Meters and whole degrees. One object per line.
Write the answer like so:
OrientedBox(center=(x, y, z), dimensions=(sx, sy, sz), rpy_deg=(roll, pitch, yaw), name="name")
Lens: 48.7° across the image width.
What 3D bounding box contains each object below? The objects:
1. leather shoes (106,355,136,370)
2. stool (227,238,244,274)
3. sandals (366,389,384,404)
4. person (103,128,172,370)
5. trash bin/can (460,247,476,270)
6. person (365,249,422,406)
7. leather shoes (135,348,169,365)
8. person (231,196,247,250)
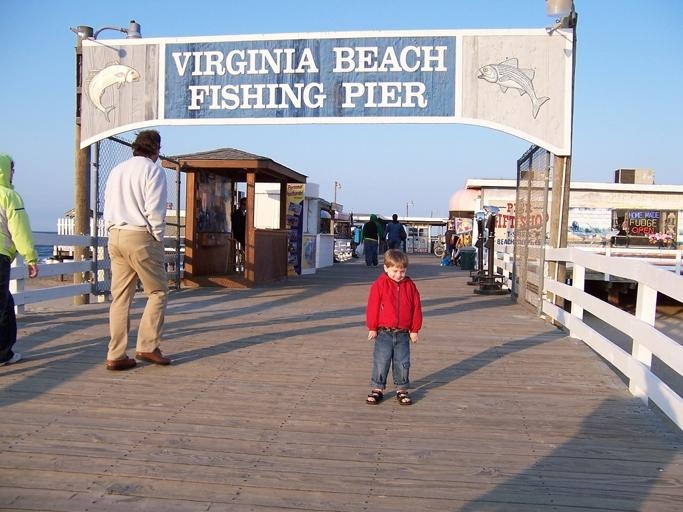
OrientedBox(center=(-2.103, 1.017, 7.324), dimensions=(0.113, 0.133, 0.286), rpy_deg=(4, 6, 41), name="leather shoes")
OrientedBox(center=(-2.494, -0.041, 17.351), dimensions=(0.383, 0.698, 0.439), rpy_deg=(-7, -1, 16), name="stool")
OrientedBox(center=(0.296, 1.195, 6.662), dimensions=(0.133, 0.104, 0.284), rpy_deg=(4, 11, 14), name="sandals")
OrientedBox(center=(-1.957, 0.058, 7.246), dimensions=(0.591, 2.015, 0.389), rpy_deg=(-2, 10, -17), name="person")
OrientedBox(center=(3.884, 0.041, 23.104), dimensions=(0.547, 0.900, 0.973), rpy_deg=(0, 0, 6), name="trash bin/can")
OrientedBox(center=(0.457, 0.590, 6.611), dimensions=(0.461, 1.305, 0.365), rpy_deg=(1, 10, 1), name="person")
OrientedBox(center=(-1.827, 0.971, 7.485), dimensions=(0.356, 0.186, 0.136), rpy_deg=(11, 10, -15), name="leather shoes")
OrientedBox(center=(-2.254, -0.727, 16.714), dimensions=(0.288, 1.200, 0.864), rpy_deg=(0, 10, -8), name="person")
